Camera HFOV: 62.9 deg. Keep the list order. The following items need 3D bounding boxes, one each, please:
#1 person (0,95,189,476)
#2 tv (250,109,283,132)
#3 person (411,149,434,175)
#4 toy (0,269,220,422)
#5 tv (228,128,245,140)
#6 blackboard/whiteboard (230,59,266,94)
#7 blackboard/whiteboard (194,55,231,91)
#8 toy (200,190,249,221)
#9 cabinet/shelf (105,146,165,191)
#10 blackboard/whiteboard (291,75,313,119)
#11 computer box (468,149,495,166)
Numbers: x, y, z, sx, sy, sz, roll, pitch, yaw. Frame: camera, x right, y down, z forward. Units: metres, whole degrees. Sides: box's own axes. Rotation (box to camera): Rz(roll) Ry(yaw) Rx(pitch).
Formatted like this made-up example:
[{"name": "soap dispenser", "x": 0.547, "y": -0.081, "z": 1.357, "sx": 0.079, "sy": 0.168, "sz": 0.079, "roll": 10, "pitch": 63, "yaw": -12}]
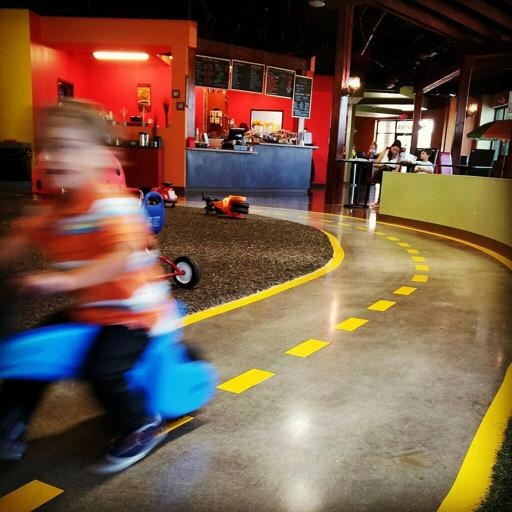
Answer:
[{"name": "person", "x": -0.511, "y": 0.087, "z": 1.281, "sx": 0.476, "sy": 1.103, "sz": 0.270, "roll": 8, "pitch": 14, "yaw": 13}, {"name": "tv", "x": 0.424, "y": -5.529, "z": 16.970, "sx": 1.390, "sy": 0.930, "sz": 0.739, "roll": 3, "pitch": 13, "yaw": -3}, {"name": "person", "x": 4.042, "y": -2.288, "z": 9.912, "sx": 0.401, "sy": 0.616, "sz": 1.871, "roll": 9, "pitch": 13, "yaw": 20}, {"name": "toy", "x": -0.455, "y": 0.357, "z": 1.491, "sx": 0.795, "sy": 0.381, "sz": 0.376, "roll": 10, "pitch": 0, "yaw": -34}, {"name": "tv", "x": -0.628, "y": -3.795, "z": 12.959, "sx": 0.480, "sy": 0.401, "sz": 0.572, "roll": 3, "pitch": 12, "yaw": -5}, {"name": "blackboard/whiteboard", "x": -0.301, "y": -5.852, "z": 13.588, "sx": 0.162, "sy": 0.892, "sz": 1.477, "roll": 26, "pitch": 29, "yaw": 39}, {"name": "blackboard/whiteboard", "x": -1.330, "y": -5.603, "z": 12.767, "sx": 1.436, "sy": 0.866, "sz": 0.032, "roll": -16, "pitch": 31, "yaw": -43}, {"name": "toy", "x": -0.577, "y": -0.896, "z": 7.649, "sx": 1.149, "sy": 0.408, "sz": 0.369, "roll": 6, "pitch": 9, "yaw": 40}, {"name": "cabinet/shelf", "x": -3.146, "y": -2.474, "z": 11.802, "sx": 0.802, "sy": 1.186, "sz": 1.448, "roll": -15, "pitch": 16, "yaw": -15}, {"name": "blackboard/whiteboard", "x": 1.627, "y": -5.659, "z": 14.772, "sx": 0.873, "sy": 1.307, "sz": 0.040, "roll": -10, "pitch": 23, "yaw": -36}, {"name": "computer box", "x": 6.251, "y": -2.711, "z": 11.566, "sx": 0.625, "sy": 0.672, "sz": 0.623, "roll": 10, "pitch": 21, "yaw": 17}]
